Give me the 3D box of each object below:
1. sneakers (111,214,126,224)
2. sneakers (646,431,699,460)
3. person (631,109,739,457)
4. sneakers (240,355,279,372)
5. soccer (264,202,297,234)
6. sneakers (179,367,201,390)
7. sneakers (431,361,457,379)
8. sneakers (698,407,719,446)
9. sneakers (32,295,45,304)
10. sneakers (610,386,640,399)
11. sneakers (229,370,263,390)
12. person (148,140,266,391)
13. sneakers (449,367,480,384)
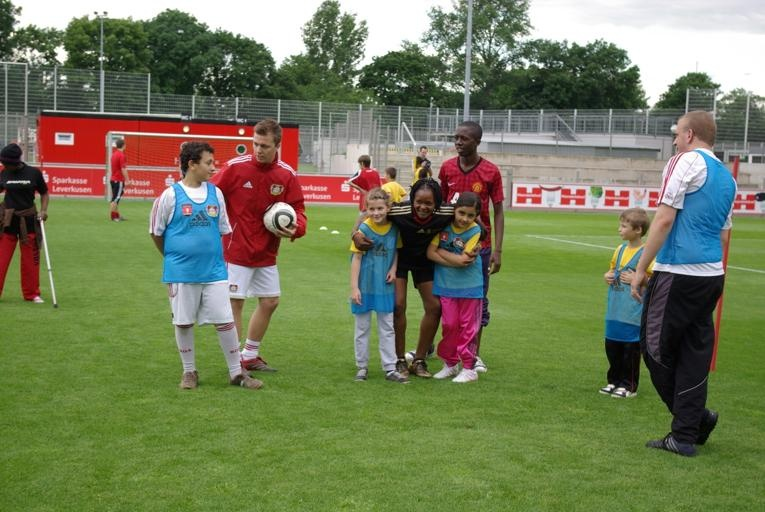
[{"bbox_3d":[-7.272,-1.010,20.981,0.147,0.165,0.412,-9,-2,-29],"label":"sneakers"},{"bbox_3d":[2.362,1.548,6.262,0.445,0.171,0.158,10,-4,21],"label":"sneakers"},{"bbox_3d":[2.411,0.201,6.210,0.657,2.727,0.694,7,13,23],"label":"person"},{"bbox_3d":[-1.265,1.109,7.735,0.411,0.156,0.131,2,0,-13],"label":"sneakers"},{"bbox_3d":[-0.974,-0.336,7.534,0.312,0.297,0.317,22,-17,-40],"label":"soccer"},{"bbox_3d":[-1.826,1.171,7.224,0.216,0.179,0.520,0,-3,-12],"label":"sneakers"},{"bbox_3d":[0.663,1.199,7.804,0.315,0.118,0.102,-1,-4,-26],"label":"sneakers"},{"bbox_3d":[2.683,1.420,6.279,0.117,0.325,0.162,28,30,25],"label":"sneakers"},{"bbox_3d":[-4.613,0.588,10.211,0.075,0.081,0.215,-14,-3,-30],"label":"sneakers"},{"bbox_3d":[2.346,1.322,7.333,0.235,0.084,0.099,9,-9,-26],"label":"sneakers"},{"bbox_3d":[-1.298,1.187,7.272,0.288,0.110,0.146,1,5,23],"label":"sneakers"},{"bbox_3d":[-1.694,0.094,7.130,0.887,2.291,0.562,-1,13,-14],"label":"person"},{"bbox_3d":[0.838,1.204,7.613,0.252,0.090,0.127,3,-7,-34],"label":"sneakers"}]
